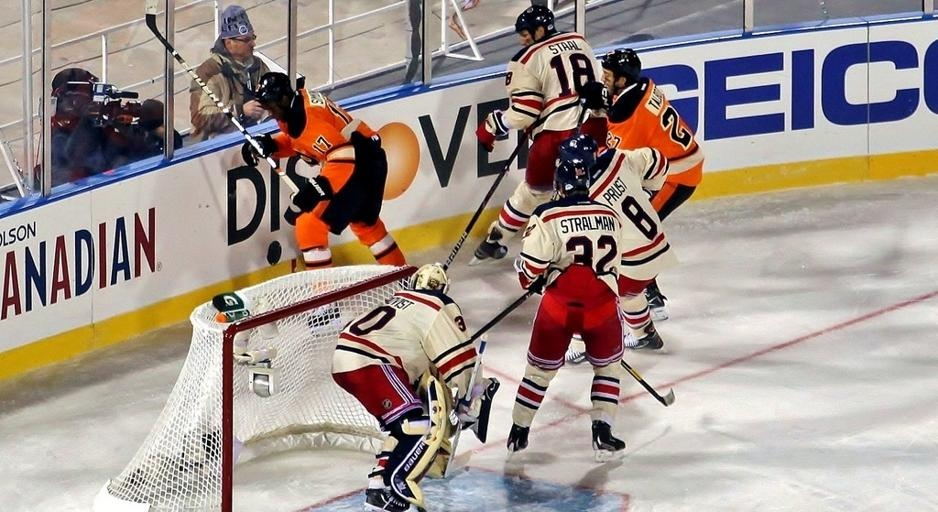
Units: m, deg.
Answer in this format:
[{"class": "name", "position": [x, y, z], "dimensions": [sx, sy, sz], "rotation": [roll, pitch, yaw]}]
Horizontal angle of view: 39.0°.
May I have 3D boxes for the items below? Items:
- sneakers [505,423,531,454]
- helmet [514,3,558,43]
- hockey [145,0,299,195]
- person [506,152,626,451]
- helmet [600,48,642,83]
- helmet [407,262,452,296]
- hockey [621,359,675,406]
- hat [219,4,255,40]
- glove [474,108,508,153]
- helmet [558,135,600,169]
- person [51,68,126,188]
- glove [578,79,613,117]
[{"class": "sneakers", "position": [0.341, 1.317, 9.483], "dimensions": [0.157, 0.095, 0.227], "rotation": [5, 44, 8]}, {"class": "helmet", "position": [0.608, -2.028, 11.353], "dimensions": [0.426, 0.339, 0.279], "rotation": [-5, 34, 13]}, {"class": "hockey", "position": [-2.083, -1.327, 10.850], "dimensions": [0.293, 2.239, 0.314], "rotation": [-42, 21, 8]}, {"class": "person", "position": [0.672, 0.355, 9.383], "dimensions": [0.916, 2.085, 0.533], "rotation": [-8, 14, 5]}, {"class": "helmet", "position": [1.229, -1.528, 10.593], "dimensions": [0.315, 0.272, 0.172], "rotation": [-9, 13, -7]}, {"class": "helmet", "position": [-0.279, 0.147, 9.295], "dimensions": [0.239, 0.235, 0.243], "rotation": [12, 52, 13]}, {"class": "hockey", "position": [1.361, 0.982, 10.081], "dimensions": [0.723, 0.180, 0.124], "rotation": [28, -28, -31]}, {"class": "hat", "position": [-1.924, -1.932, 10.881], "dimensions": [0.358, 0.240, 0.218], "rotation": [-14, 36, -2]}, {"class": "glove", "position": [0.200, -1.109, 11.587], "dimensions": [0.244, 0.239, 0.429], "rotation": [-15, -24, -31]}, {"class": "helmet", "position": [0.818, -0.772, 9.452], "dimensions": [0.335, 0.186, 0.206], "rotation": [-2, 11, -21]}, {"class": "person", "position": [-3.081, -1.036, 10.481], "dimensions": [0.670, 0.788, 0.394], "rotation": [5, 0, -40]}, {"class": "glove", "position": [1.045, -1.347, 10.952], "dimensions": [0.253, 0.179, 0.329], "rotation": [-2, 32, -2]}]
